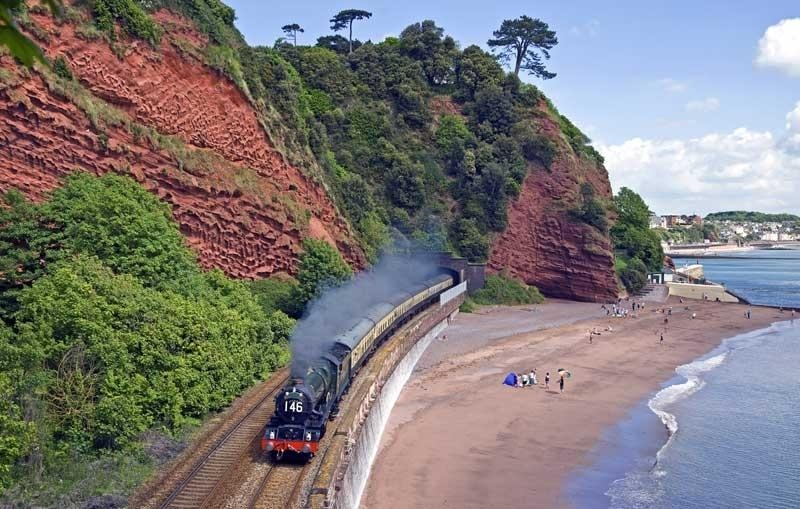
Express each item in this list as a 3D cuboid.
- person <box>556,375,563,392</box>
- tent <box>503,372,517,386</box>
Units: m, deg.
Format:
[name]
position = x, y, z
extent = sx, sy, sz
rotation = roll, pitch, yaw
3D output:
[person]
position = 17.673, 14.273, 64.305
extent = 0.498, 1.535, 0.910
rotation = 10, 54, 16
[tent]
position = 12.379, 13.886, 64.954
extent = 1.248, 0.623, 1.395
rotation = 3, 8, 24
